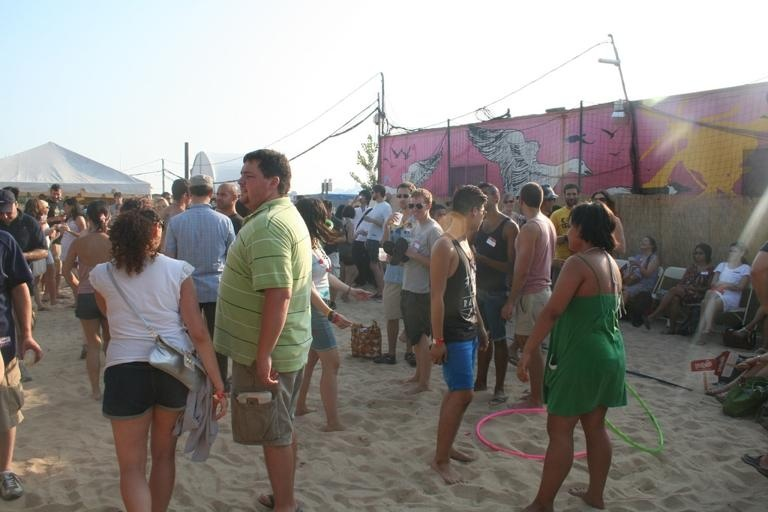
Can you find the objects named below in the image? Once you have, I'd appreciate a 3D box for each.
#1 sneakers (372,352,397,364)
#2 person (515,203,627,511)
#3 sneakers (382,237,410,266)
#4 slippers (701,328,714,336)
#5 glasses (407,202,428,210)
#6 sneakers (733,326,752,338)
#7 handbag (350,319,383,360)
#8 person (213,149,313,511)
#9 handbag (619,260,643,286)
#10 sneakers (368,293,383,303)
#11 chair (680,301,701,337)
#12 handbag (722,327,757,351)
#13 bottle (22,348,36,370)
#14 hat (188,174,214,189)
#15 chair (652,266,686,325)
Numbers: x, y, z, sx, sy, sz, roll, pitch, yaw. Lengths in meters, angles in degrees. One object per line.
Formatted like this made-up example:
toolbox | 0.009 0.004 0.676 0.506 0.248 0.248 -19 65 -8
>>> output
sneakers | 0.006 1.518 9.308 0.347 0.166 0.137 4 -2 8
person | 1.876 0.993 6.100 0.983 2.294 0.407 1 1 -13
sneakers | 0.173 -0.057 8.016 0.247 0.408 0.138 1 -2 9
slippers | 5.340 1.260 10.406 0.122 0.163 0.388 -32 -17 31
glasses | 0.441 -0.649 8.050 0.145 0.075 0.189 2 -1 28
sneakers | 5.592 1.198 9.823 0.216 0.099 0.134 -4 20 1
handbag | -0.212 1.290 9.632 0.559 0.633 0.444 -1 2 11
person | -1.074 0.737 5.669 0.844 3.408 0.474 1 1 -16
handbag | 4.592 0.328 11.661 0.146 0.450 0.315 -7 31 8
sneakers | -0.154 0.880 13.119 0.392 0.184 0.151 3 -2 2
chair | 5.247 1.085 10.777 0.476 0.566 0.318 -6 13 -35
handbag | 5.617 1.321 9.962 0.312 0.308 0.404 -5 14 -39
bottle | -3.574 1.035 6.326 0.101 0.189 0.254 1 1 -39
hat | -2.268 -0.929 7.790 0.274 0.163 0.301 2 1 -21
chair | 5.152 0.740 11.973 0.784 1.053 0.871 -4 4 -42
